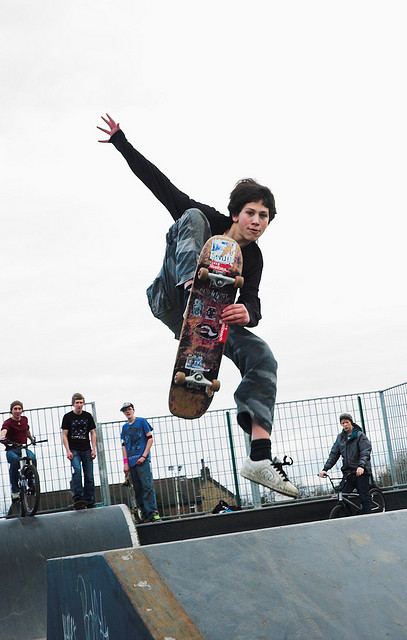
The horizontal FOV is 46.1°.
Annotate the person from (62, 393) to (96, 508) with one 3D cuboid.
[{"bbox_3d":[-1.527,1.560,5.887,0.391,1.323,0.345,1,-14,-18],"label":"person"}]

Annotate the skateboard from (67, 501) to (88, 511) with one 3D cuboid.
[{"bbox_3d":[-1.405,2.061,5.367,0.144,0.112,0.505,1,-16,-18],"label":"skateboard"}]

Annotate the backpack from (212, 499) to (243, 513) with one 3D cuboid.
[{"bbox_3d":[0.331,2.459,6.364,0.449,0.207,0.155,-7,-7,14],"label":"backpack"}]

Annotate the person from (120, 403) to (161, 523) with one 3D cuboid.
[{"bbox_3d":[-0.856,1.798,6.230,0.217,1.463,0.658,9,-18,-40],"label":"person"}]

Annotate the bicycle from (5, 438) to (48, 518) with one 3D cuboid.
[{"bbox_3d":[-1.952,1.911,5.424,0.442,0.641,1.023,5,-34,-17],"label":"bicycle"}]

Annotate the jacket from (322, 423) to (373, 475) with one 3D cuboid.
[{"bbox_3d":[1.871,1.667,6.160,0.508,0.682,0.424,-12,-30,34],"label":"jacket"}]
